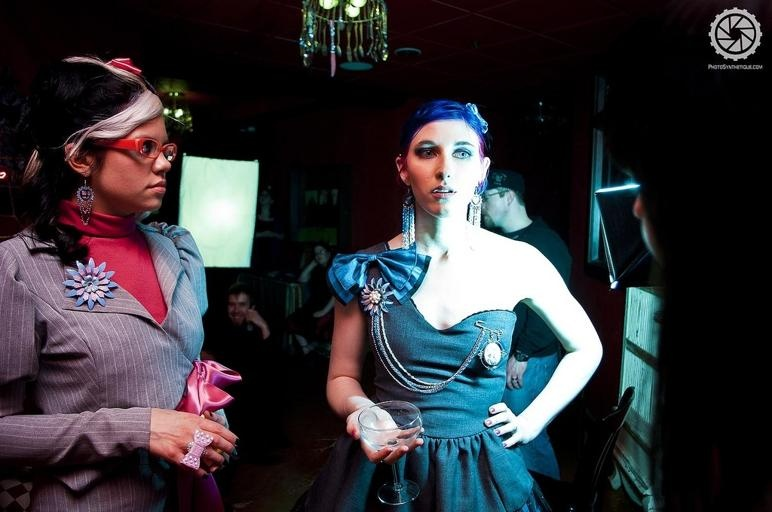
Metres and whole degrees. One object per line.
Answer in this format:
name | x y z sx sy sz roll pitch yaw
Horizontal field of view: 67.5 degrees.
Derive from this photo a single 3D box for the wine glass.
wine glass | 0.017 0.570 1.657 0.167 0.304 0.227 0 -4 15
